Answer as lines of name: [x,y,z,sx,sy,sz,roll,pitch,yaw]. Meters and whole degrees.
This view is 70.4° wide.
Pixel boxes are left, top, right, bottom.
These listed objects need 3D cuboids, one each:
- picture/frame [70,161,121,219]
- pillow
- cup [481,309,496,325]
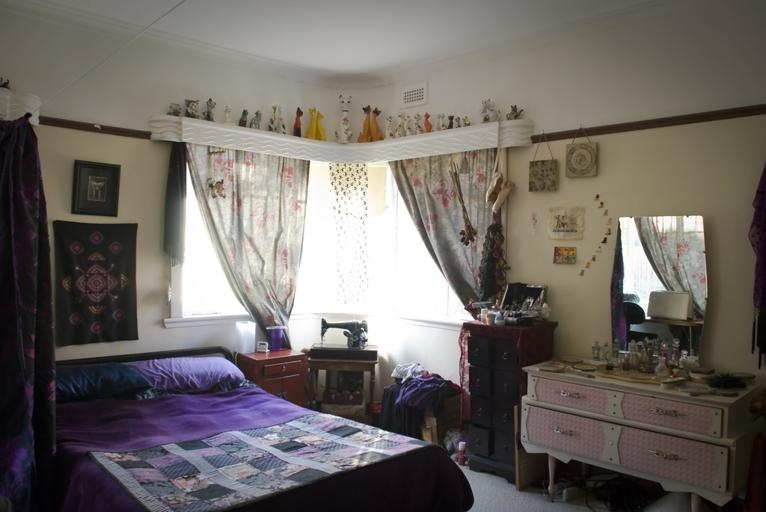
picture/frame: [-2.494,-0.549,4.706,0.380,0.470,0.137,-3,12,-21]
pillow: [-1.930,1.031,4.550,0.789,0.263,1.518,5,4,44]
cup: [0.918,0.553,4.756,0.105,0.106,0.108,-1,2,0]
